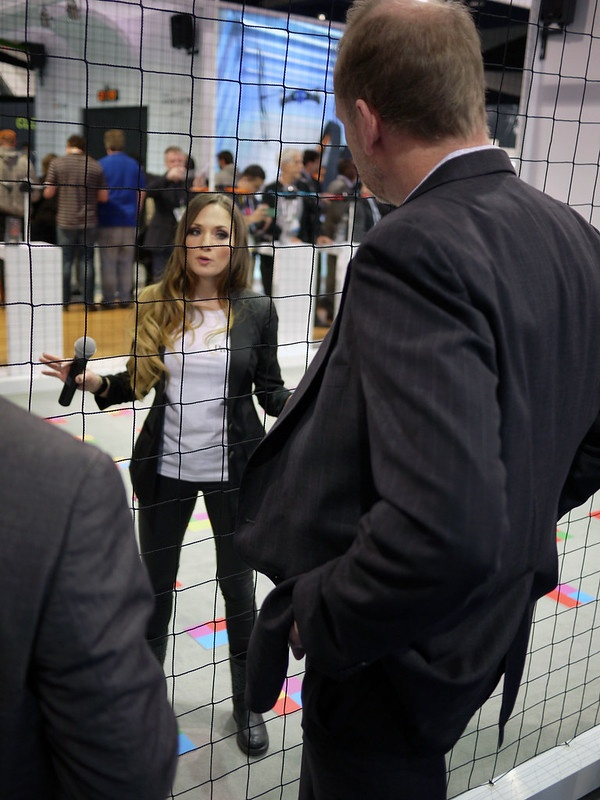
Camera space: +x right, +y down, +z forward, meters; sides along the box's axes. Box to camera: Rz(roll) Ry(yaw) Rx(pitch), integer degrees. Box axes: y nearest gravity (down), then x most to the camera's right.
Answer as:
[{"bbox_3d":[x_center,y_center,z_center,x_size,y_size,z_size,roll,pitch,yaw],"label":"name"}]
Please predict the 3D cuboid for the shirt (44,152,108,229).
[{"bbox_3d":[-1.953,-1.787,6.241,0.561,0.645,0.381,-1,14,-18],"label":"shirt"}]

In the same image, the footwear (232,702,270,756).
[{"bbox_3d":[-0.138,0.970,2.134,0.080,0.128,0.219,-3,0,-15],"label":"footwear"}]

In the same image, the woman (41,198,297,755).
[{"bbox_3d":[-0.355,0.264,2.151,0.865,1.681,0.507,-1,12,7],"label":"woman"}]
